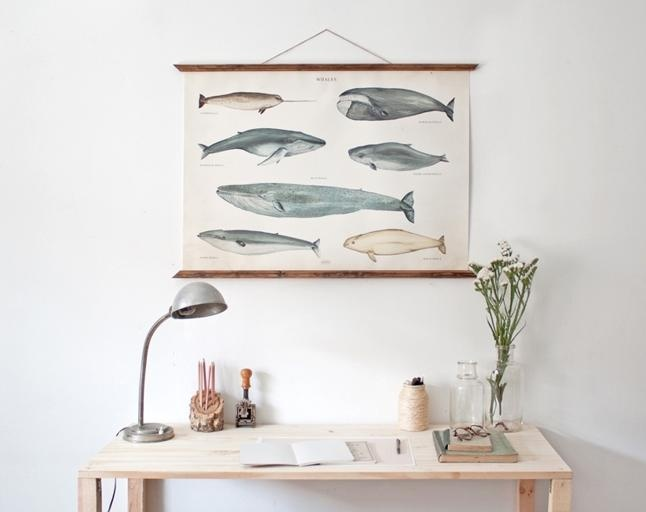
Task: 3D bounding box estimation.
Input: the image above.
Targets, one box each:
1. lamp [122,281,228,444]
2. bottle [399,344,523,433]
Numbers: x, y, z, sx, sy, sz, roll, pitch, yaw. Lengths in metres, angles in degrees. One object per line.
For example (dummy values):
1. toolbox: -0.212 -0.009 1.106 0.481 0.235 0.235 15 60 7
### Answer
1. lamp: -0.602 0.432 2.907 0.537 0.625 0.306 -9 -11 43
2. bottle: 0.580 0.562 2.955 0.377 0.272 0.127 0 -5 -2
